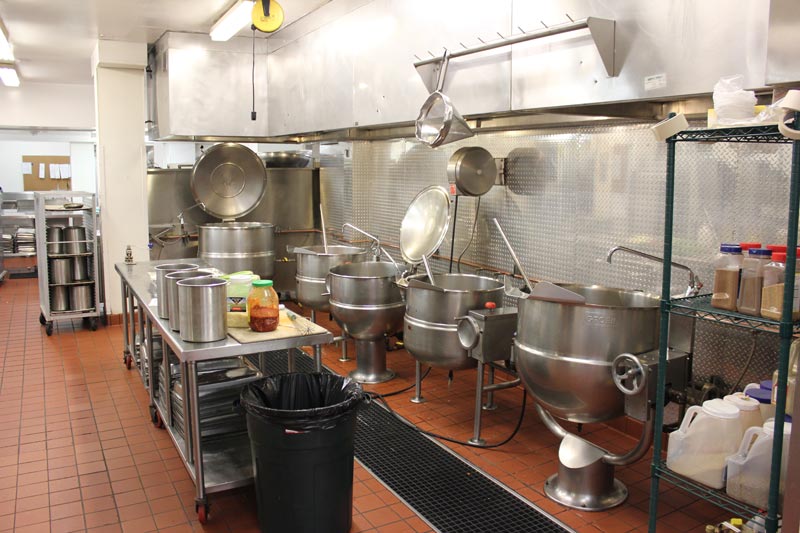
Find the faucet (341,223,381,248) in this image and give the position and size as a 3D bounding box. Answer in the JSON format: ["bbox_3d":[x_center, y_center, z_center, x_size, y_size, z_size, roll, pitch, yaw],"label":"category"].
[{"bbox_3d":[-0.405,-0.330,5.995,0.115,0.129,0.537,-8,28,-41],"label":"faucet"}]

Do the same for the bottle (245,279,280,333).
[{"bbox_3d":[-0.806,0.223,3.242,0.180,0.286,0.229,-5,10,-15],"label":"bottle"}]

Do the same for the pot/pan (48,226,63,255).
[{"bbox_3d":[-3.849,-0.285,6.196,0.173,0.302,0.086,-8,11,-30],"label":"pot/pan"}]

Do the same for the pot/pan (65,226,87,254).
[{"bbox_3d":[-3.676,-0.285,6.277,0.282,0.301,0.279,1,1,8],"label":"pot/pan"}]

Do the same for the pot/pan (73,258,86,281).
[{"bbox_3d":[-3.659,0.029,6.332,0.137,0.279,0.035,-8,11,-30],"label":"pot/pan"}]

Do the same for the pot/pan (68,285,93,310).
[{"bbox_3d":[-3.672,0.365,6.378,0.269,0.292,0.264,3,-1,-3],"label":"pot/pan"}]

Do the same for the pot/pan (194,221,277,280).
[{"bbox_3d":[-1.819,-0.175,6.276,0.700,0.683,0.653,1,3,0],"label":"pot/pan"}]

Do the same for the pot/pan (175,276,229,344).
[{"bbox_3d":[-1.094,0.229,3.045,0.319,0.330,0.306,5,6,39],"label":"pot/pan"}]

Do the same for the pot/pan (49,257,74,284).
[{"bbox_3d":[-3.749,0.053,6.274,0.276,0.302,0.271,1,1,-4],"label":"pot/pan"}]

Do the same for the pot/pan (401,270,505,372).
[{"bbox_3d":[0.339,0.363,4.072,0.812,0.591,0.594,-2,6,-41],"label":"pot/pan"}]

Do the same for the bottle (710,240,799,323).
[{"bbox_3d":[1.629,0.063,2.565,0.171,0.305,0.306,-9,12,-34],"label":"bottle"}]

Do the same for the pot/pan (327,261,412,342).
[{"bbox_3d":[-0.255,0.270,4.655,0.713,0.517,0.641,1,4,39],"label":"pot/pan"}]

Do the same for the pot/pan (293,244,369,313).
[{"bbox_3d":[-0.645,0.127,5.415,0.768,0.551,0.574,1,3,7],"label":"pot/pan"}]

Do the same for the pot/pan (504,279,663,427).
[{"bbox_3d":[1.009,0.467,3.328,0.791,0.835,0.852,4,4,-2],"label":"pot/pan"}]

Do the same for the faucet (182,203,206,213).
[{"bbox_3d":[-2.515,-0.711,6.730,0.223,0.109,0.061,-6,10,-21],"label":"faucet"}]

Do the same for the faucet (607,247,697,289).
[{"bbox_3d":[1.594,0.010,3.465,0.559,0.215,0.161,10,10,-7],"label":"faucet"}]
